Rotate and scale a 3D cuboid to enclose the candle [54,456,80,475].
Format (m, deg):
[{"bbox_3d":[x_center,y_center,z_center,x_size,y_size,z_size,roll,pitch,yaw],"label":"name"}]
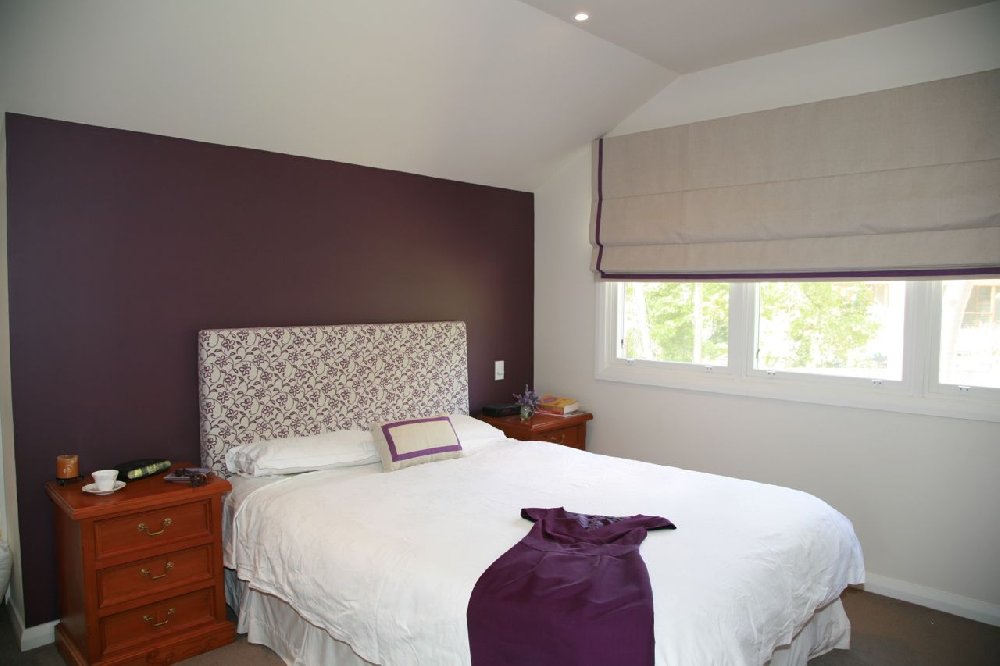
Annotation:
[{"bbox_3d":[-2.531,0.771,3.918,0.109,0.091,0.111,1,-2,8],"label":"candle"}]

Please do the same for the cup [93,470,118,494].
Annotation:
[{"bbox_3d":[-2.278,0.843,3.825,0.118,0.101,0.129,0,-4,0],"label":"cup"}]
